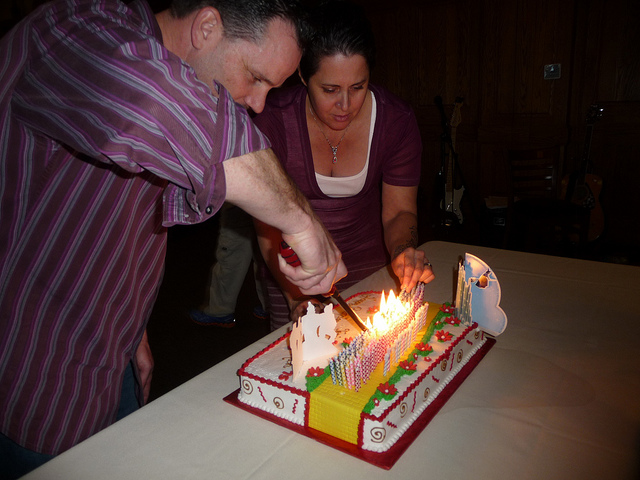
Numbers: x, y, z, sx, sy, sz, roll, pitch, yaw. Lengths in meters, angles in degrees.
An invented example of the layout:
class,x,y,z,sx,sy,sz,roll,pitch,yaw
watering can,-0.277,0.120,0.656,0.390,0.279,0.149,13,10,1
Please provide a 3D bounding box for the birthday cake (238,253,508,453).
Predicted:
class,x,y,z,sx,sy,sz,roll,pitch,yaw
birthday cake,0.239,0.318,1.942,0.636,0.414,1.058,6,13,41

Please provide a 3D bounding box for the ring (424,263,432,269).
class,x,y,z,sx,sy,sz,roll,pitch,yaw
ring,0.493,0.121,2.323,0.042,0.021,0.015,-12,24,-28

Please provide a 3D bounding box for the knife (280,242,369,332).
class,x,y,z,sx,sy,sz,roll,pitch,yaw
knife,0.008,0.191,1.906,0.058,0.441,0.076,-27,17,29

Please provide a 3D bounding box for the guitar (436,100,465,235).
class,x,y,z,sx,sy,sz,roll,pitch,yaw
guitar,1.547,-0.822,5.929,0.338,1.467,0.625,4,19,17

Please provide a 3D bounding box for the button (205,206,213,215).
class,x,y,z,sx,sy,sz,roll,pitch,yaw
button,-0.282,-0.072,1.288,0.020,0.024,0.010,-8,19,-16

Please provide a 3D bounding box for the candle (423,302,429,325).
class,x,y,z,sx,sy,sz,roll,pitch,yaw
candle,0.410,0.288,1.969,0.013,0.098,0.021,13,35,24

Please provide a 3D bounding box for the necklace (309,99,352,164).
class,x,y,z,sx,sy,sz,roll,pitch,yaw
necklace,0.069,-0.466,2.515,0.148,0.183,0.047,-3,18,-1

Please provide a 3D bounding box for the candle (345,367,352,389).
class,x,y,z,sx,sy,sz,roll,pitch,yaw
candle,0.090,0.432,1.595,0.020,0.078,0.009,3,18,15

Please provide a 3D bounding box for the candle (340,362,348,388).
class,x,y,z,sx,sy,sz,roll,pitch,yaw
candle,0.077,0.428,1.602,0.015,0.099,0.017,-6,10,4
